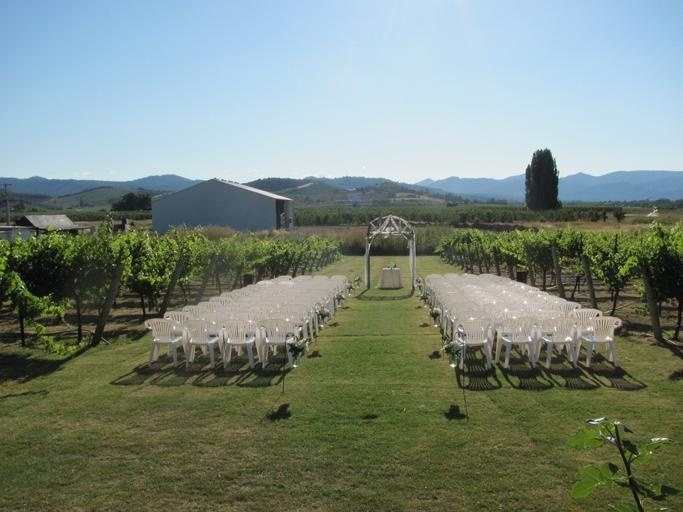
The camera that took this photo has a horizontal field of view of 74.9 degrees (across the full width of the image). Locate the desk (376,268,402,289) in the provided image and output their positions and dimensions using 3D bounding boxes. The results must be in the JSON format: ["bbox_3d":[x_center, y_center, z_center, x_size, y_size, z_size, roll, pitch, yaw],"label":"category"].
[{"bbox_3d":[2.262,1.003,20.434,0.913,0.704,0.938,0,4,5],"label":"desk"}]
